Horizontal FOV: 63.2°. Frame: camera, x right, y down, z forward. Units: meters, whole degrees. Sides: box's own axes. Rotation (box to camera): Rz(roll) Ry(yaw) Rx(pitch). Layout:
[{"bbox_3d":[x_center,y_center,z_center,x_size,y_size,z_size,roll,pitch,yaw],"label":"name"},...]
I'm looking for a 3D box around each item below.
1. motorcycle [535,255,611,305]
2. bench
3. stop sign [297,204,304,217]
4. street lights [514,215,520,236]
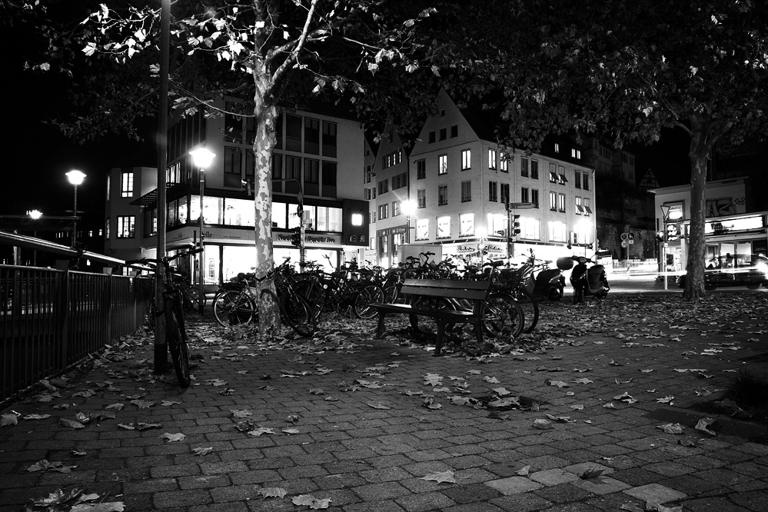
[{"bbox_3d":[6.071,0.879,21.186,2.910,1.908,1.485,3,-4,-35],"label":"motorcycle"},{"bbox_3d":[0.793,1.111,12.381,1.142,1.300,2.893,-1,1,-30],"label":"bench"},{"bbox_3d":[-3.429,-1.864,25.236,0.176,0.525,0.944,-1,-4,-12],"label":"stop sign"},{"bbox_3d":[6.311,-1.492,29.905,0.318,0.993,1.232,-2,-3,9],"label":"street lights"}]
